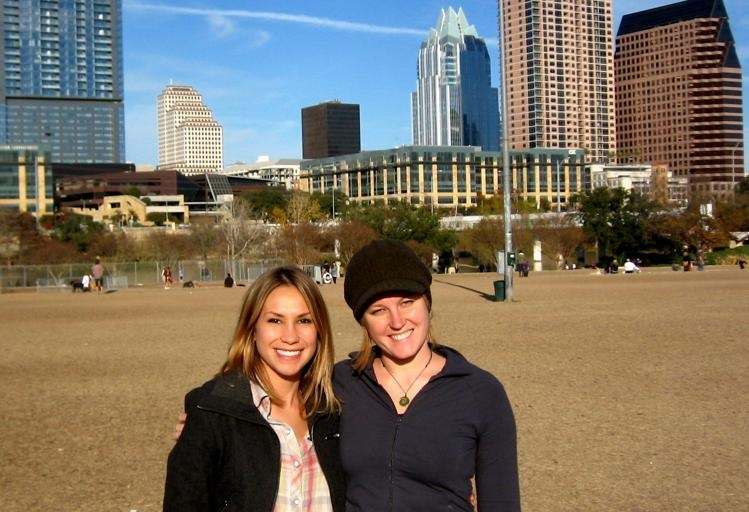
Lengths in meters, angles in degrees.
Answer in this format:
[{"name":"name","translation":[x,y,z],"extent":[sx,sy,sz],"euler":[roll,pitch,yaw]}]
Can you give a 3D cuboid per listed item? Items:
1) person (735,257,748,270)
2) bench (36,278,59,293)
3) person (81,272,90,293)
[{"name":"person","translation":[34.445,0.678,98.676],"extent":[1.292,1.080,2.832],"euler":[-3,1,24]},{"name":"bench","translation":[-27.434,2.058,87.563],"extent":[1.857,1.426,1.022],"euler":[1,-3,-22]},{"name":"person","translation":[-23.352,2.118,84.776],"extent":[0.614,1.318,2.218],"euler":[-3,2,-15]}]
